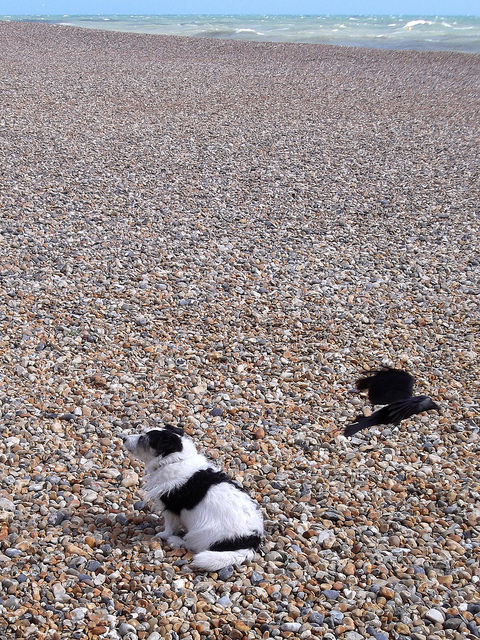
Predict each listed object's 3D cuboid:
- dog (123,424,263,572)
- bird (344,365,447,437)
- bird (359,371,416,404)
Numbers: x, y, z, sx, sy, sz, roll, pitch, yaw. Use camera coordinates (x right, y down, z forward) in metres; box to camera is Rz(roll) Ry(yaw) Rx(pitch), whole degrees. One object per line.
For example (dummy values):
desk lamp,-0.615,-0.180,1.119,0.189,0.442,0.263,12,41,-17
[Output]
dog,-0.225,0.857,3.286,0.772,0.468,0.466,32,28,17
bird,0.673,0.374,3.025,0.405,0.143,0.379,-1,33,-2
bird,0.688,0.299,3.063,0.194,0.081,0.219,-1,-2,-6
